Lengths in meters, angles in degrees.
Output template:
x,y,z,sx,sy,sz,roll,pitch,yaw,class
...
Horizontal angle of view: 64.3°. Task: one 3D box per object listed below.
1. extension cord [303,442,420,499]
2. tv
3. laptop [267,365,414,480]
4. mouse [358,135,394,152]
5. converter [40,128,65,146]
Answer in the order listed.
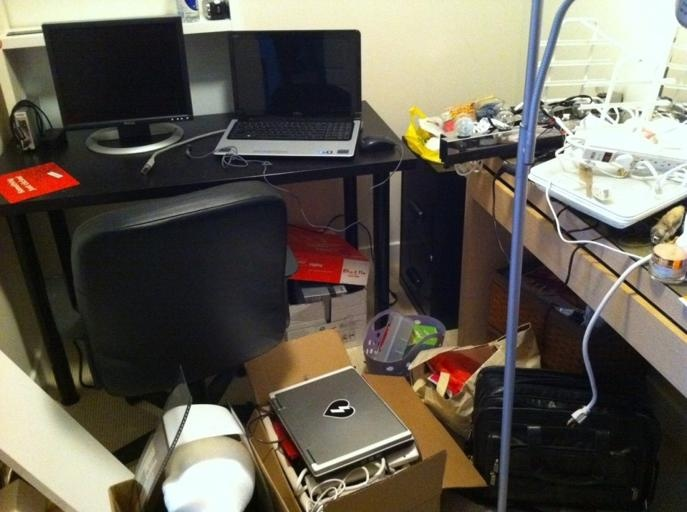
x,y,z,sx,sy,sz,roll,pitch,yaw,class
0.055,0.623,1.560,0.367,0.066,0.115,-7,27,-12,extension cord
-0.878,-0.676,2.124,0.502,0.424,0.052,-1,25,-2,tv
-0.021,0.496,1.672,0.273,0.059,0.275,-15,37,-25,laptop
0.131,-0.433,2.058,0.109,0.034,0.065,-5,40,-8,mouse
-1.158,-0.482,2.183,0.084,0.021,0.080,-7,45,-20,converter
